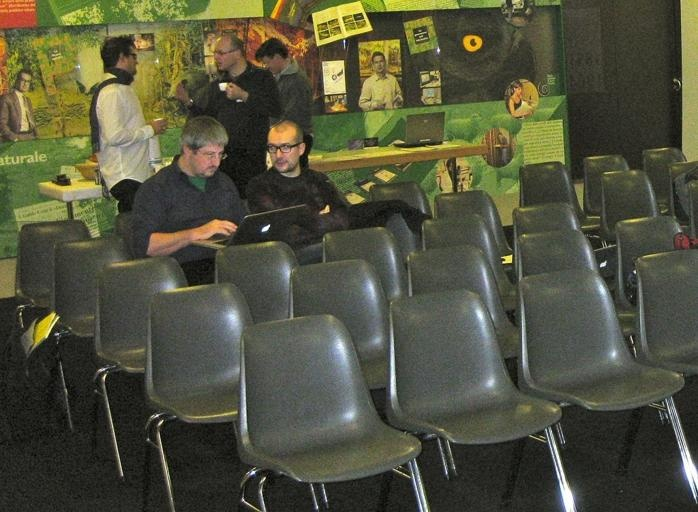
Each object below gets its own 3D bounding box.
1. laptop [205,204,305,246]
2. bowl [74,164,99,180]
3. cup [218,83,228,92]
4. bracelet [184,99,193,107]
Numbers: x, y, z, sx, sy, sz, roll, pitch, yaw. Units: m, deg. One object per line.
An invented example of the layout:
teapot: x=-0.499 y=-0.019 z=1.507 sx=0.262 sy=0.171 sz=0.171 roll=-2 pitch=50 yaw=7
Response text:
laptop: x=-0.606 y=-0.193 z=3.803 sx=0.337 sy=0.168 sz=0.454 roll=10 pitch=16 yaw=40
bowl: x=-2.704 y=-0.886 z=6.264 sx=0.248 sy=0.123 sz=0.327 roll=0 pitch=1 yaw=-29
cup: x=-1.423 y=-1.918 z=6.844 sx=0.120 sy=0.096 sz=0.127 roll=-4 pitch=5 yaw=0
bracelet: x=-2.018 y=-1.944 z=7.640 sx=0.091 sy=0.083 sz=0.090 roll=2 pitch=10 yaw=17
